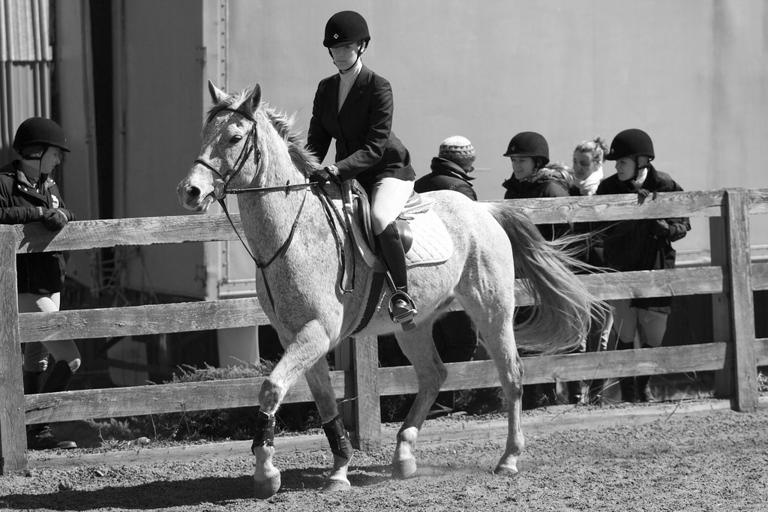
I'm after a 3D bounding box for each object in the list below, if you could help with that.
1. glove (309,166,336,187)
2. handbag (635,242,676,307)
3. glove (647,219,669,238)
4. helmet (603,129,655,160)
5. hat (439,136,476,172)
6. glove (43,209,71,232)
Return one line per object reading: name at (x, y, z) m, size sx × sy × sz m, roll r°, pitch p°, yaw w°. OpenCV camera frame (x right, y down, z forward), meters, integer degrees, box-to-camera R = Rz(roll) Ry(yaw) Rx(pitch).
glove at (-0.565, -0.764, 16.437) m, size 0.205 × 0.071 × 0.155 m, roll -27°, pitch 25°, yaw -15°
handbag at (2.937, 0.132, 18.764) m, size 0.215 × 0.976 × 0.510 m, roll 2°, pitch -9°, yaw 16°
glove at (2.979, -0.304, 18.495) m, size 0.215 × 0.165 × 0.170 m, roll -4°, pitch 2°, yaw 10°
helmet at (2.665, -1.177, 18.476) m, size 0.405 × 0.249 × 0.325 m, roll 1°, pitch 0°, yaw -20°
hat at (0.809, -1.094, 18.303) m, size 0.368 × 0.408 × 0.348 m, roll 0°, pitch 9°, yaw 2°
glove at (-3.236, -0.376, 17.064) m, size 0.178 × 0.250 × 0.106 m, roll 10°, pitch 23°, yaw -14°
